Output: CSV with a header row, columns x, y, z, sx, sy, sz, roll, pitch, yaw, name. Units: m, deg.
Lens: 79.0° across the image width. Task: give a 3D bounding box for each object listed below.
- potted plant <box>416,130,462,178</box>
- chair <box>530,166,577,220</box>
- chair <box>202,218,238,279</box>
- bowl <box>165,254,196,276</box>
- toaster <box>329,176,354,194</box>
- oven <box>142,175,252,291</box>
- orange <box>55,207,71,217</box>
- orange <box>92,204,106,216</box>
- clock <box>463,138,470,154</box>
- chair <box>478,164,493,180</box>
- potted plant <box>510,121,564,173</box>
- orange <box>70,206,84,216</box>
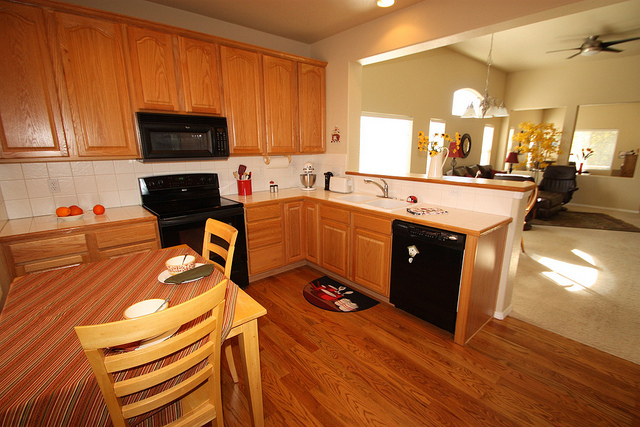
x,y,z,sx,sy,sz,roll,pitch,yaw,name
1.369,-0.703,4.804,0.440,0.462,0.430,-19,6,-19,potted plant
4.714,-0.440,7.988,1.099,0.904,0.764,-17,18,-28,chair
-0.865,0.401,3.626,0.435,0.640,0.365,4,11,-22,chair
-1.139,0.429,3.207,0.190,0.098,0.184,-7,7,1,bowl
0.293,-0.381,5.249,0.193,0.208,0.341,-13,17,-39,toaster
-1.473,0.214,4.663,1.132,1.205,1.112,16,25,30,oven
-2.621,-0.006,3.995,0.130,0.097,0.133,-10,16,-32,orange
-2.334,-0.035,4.115,0.109,0.095,0.111,7,4,39,orange
3.185,-1.450,8.441,0.042,0.338,0.336,9,18,37,clock
3.692,-0.913,8.649,0.266,0.251,0.510,3,14,21,chair
4.888,-1.656,8.998,0.962,1.234,0.990,12,-2,10,potted plant
-2.482,-0.013,4.000,0.109,0.071,0.077,11,14,19,orange
